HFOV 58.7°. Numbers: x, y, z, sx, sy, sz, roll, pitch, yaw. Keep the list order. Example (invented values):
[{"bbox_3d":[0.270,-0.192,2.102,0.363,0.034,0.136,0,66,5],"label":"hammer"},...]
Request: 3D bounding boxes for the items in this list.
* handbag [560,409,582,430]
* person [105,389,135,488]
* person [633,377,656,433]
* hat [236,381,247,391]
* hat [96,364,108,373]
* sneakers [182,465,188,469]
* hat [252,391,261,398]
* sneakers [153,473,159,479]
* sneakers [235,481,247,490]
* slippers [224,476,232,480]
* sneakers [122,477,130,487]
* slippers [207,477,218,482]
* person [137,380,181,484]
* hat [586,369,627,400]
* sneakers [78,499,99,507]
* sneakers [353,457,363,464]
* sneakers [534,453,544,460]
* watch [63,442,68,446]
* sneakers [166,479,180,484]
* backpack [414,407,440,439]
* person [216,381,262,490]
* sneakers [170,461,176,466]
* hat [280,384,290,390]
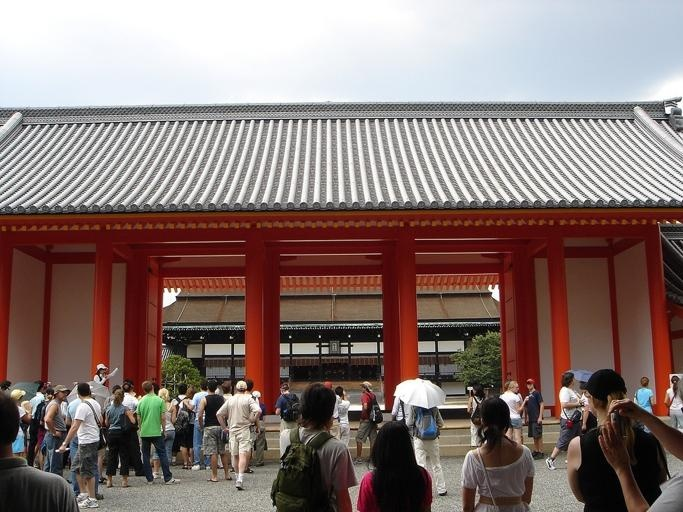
[{"bbox_3d":[3.464,2.449,9.142,0.247,0.264,0.293,23,-34,-29],"label":"handbag"},{"bbox_3d":[-3.358,2.692,9.108,0.396,1.418,0.517,5,-16,-24],"label":"person"},{"bbox_3d":[5.576,2.775,11.033,0.318,1.058,0.357,8,-8,-36],"label":"person"},{"bbox_3d":[-1.534,1.940,9.162,0.142,0.098,0.205,2,-1,-3],"label":"hat"},{"bbox_3d":[-4.464,2.051,11.232,0.224,0.098,0.312,2,-9,-20],"label":"hat"},{"bbox_3d":[-2.720,3.622,10.499,0.053,0.055,0.143,2,-22,-13],"label":"sneakers"},{"bbox_3d":[-1.504,2.390,10.578,0.159,0.124,0.114,0,-13,1],"label":"hat"},{"bbox_3d":[-2.989,3.494,9.716,0.074,0.083,0.200,5,-12,-8],"label":"sneakers"},{"bbox_3d":[-1.425,3.213,8.544,0.079,0.098,0.227,-4,-26,2],"label":"sneakers"},{"bbox_3d":[-1.743,3.370,9.282,0.053,0.049,0.142,-1,-24,-2],"label":"slippers"},{"bbox_3d":[-3.244,3.333,9.063,0.097,0.156,0.303,4,-15,-20],"label":"sneakers"},{"bbox_3d":[-1.967,3.370,9.217,0.138,0.047,0.305,2,-14,-14],"label":"slippers"},{"bbox_3d":[-2.873,2.676,9.366,0.615,1.506,0.707,4,-15,-18],"label":"person"},{"bbox_3d":[1.713,0.797,3.940,0.183,0.132,0.230,-5,11,2],"label":"hat"},{"bbox_3d":[-3.249,3.124,7.737,0.239,0.101,0.159,3,-14,-15],"label":"sneakers"},{"bbox_3d":[0.291,3.524,10.560,0.154,0.044,0.116,0,-6,5],"label":"sneakers"},{"bbox_3d":[3.478,3.449,10.568,0.231,0.094,0.084,8,-13,-22],"label":"sneakers"},{"bbox_3d":[-3.667,2.457,7.979,0.036,0.038,0.035,1,1,26],"label":"watch"},{"bbox_3d":[-2.545,3.352,9.089,0.206,0.083,0.080,0,-3,-15],"label":"sneakers"},{"bbox_3d":[1.169,2.286,8.370,0.414,0.514,0.290,3,-27,-9],"label":"backpack"},{"bbox_3d":[-1.491,2.600,9.019,0.601,1.505,0.898,7,-16,-28],"label":"person"},{"bbox_3d":[-3.066,3.729,11.000,0.052,0.080,0.172,4,-24,-18],"label":"sneakers"},{"bbox_3d":[-0.951,2.177,10.163,0.159,0.117,0.133,7,-13,-2],"label":"hat"}]
